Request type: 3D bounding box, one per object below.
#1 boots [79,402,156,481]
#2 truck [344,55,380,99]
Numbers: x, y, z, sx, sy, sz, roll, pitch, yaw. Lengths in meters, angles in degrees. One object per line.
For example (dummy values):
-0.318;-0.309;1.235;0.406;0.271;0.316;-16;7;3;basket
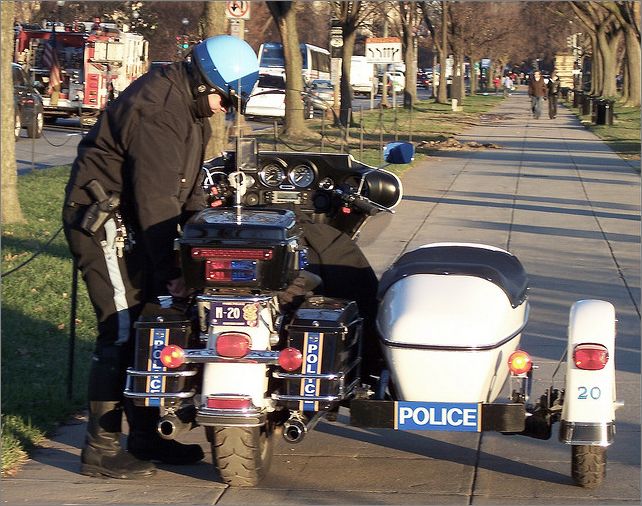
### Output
-1.155;1.130;5.316;0.675;0.413;0.342;-6;-7;37;boots
2.127;-11.243;56.327;3.387;2.058;4.684;0;10;2;truck
